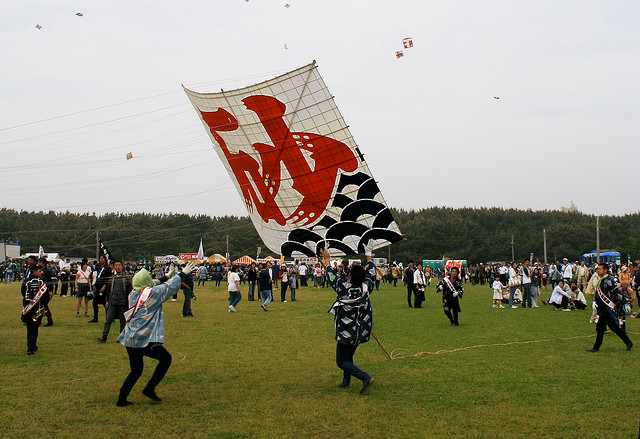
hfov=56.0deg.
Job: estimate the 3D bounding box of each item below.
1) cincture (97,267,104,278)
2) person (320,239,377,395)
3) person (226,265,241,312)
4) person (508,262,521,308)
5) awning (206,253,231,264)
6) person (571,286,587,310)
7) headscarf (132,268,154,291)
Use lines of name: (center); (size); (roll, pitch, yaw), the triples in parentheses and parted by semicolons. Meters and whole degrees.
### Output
cincture: (-7.387, 1.834, 20.188); (0.056, 0.277, 0.046); (28, -15, -12)
person: (0.808, 2.475, 15.598); (1.211, 3.869, 0.900); (0, 0, 6)
person: (-3.777, 2.993, 26.179); (0.482, 1.990, 1.302); (0, 1, -10)
person: (8.776, 2.980, 27.207); (0.454, 2.050, 1.177); (0, 1, 16)
awning: (-11.014, 4.288, 65.113); (2.695, 1.199, 2.715); (-4, -10, 27)
person: (11.359, 3.447, 26.477); (0.721, 1.075, 0.418); (0, 1, -14)
headscarf: (-4.389, 1.488, 14.817); (0.431, 0.491, 0.487); (-16, -6, 1)
